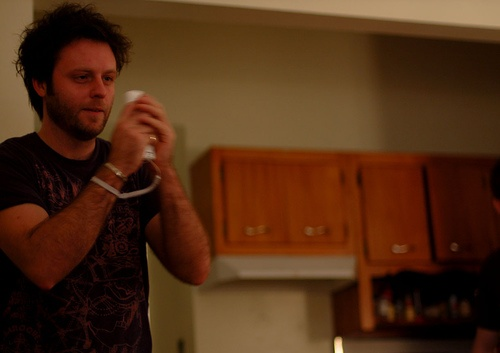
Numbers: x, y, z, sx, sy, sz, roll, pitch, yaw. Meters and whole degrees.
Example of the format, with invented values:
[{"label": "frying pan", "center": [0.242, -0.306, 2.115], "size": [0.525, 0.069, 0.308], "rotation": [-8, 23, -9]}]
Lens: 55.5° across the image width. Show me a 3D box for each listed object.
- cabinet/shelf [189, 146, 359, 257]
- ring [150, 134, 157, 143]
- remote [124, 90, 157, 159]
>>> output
[{"label": "cabinet/shelf", "center": [0.126, 0.172, 2.140], "size": [0.576, 0.454, 0.325], "rotation": [1, -23, -7]}, {"label": "ring", "center": [-0.192, -0.075, 0.944], "size": [0.014, 0.012, 0.005], "rotation": [32, 5, -8]}, {"label": "remote", "center": [-0.219, -0.103, 0.945], "size": [0.058, 0.137, 0.036], "rotation": [-2, 1, -14]}]
